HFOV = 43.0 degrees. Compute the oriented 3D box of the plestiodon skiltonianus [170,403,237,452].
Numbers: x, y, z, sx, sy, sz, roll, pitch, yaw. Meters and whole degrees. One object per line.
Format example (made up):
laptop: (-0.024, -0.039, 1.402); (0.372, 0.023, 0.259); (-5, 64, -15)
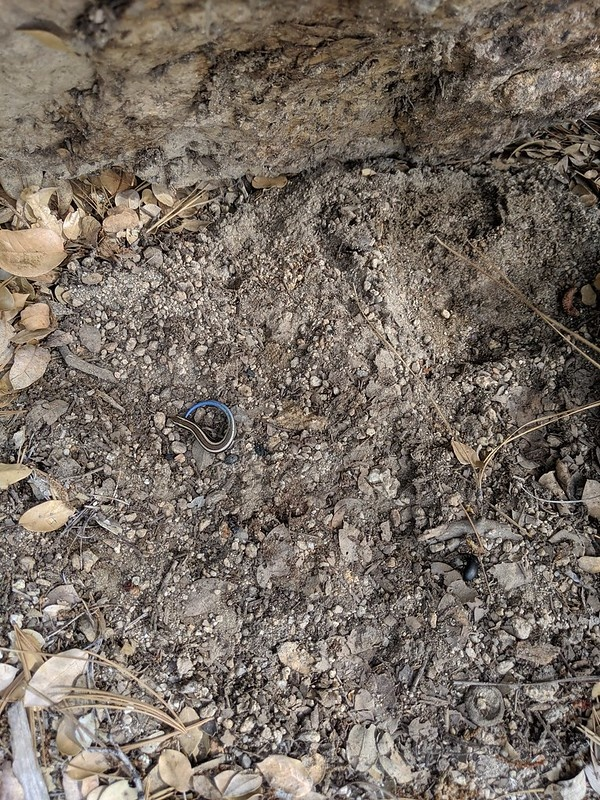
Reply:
plestiodon skiltonianus: (-0.368, 0.094, 3.013); (0.259, 0.170, 0.129); (23, 32, 20)
